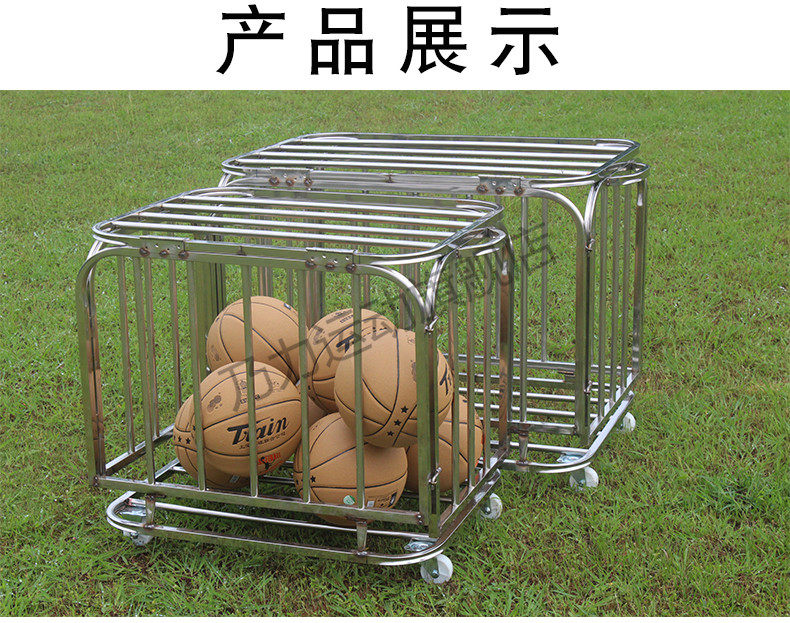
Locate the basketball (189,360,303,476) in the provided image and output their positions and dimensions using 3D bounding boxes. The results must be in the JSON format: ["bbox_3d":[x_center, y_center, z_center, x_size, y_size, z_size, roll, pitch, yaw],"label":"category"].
[{"bbox_3d":[-0.631,0.452,3.489,0.444,0.522,0.318,-1,18,-2],"label":"basketball"}]

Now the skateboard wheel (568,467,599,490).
[{"bbox_3d":[0.940,0.835,3.999,0.109,0.119,0.041,-3,0,16],"label":"skateboard wheel"}]

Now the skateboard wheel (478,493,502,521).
[{"bbox_3d":[0.449,0.917,3.759,0.112,0.117,0.043,-11,-12,34],"label":"skateboard wheel"}]

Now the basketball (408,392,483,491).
[{"bbox_3d":[0.262,0.592,3.645,0.392,0.509,0.412,-1,4,-1],"label":"basketball"}]

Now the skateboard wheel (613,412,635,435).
[{"bbox_3d":[1.292,0.614,4.491,0.075,0.087,0.100,1,-11,-1],"label":"skateboard wheel"}]

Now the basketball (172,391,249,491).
[{"bbox_3d":[-0.871,0.594,3.698,0.366,0.472,0.385,1,-1,-1],"label":"basketball"}]

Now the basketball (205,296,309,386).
[{"bbox_3d":[-0.674,0.173,3.899,0.400,0.500,0.421,-2,-5,2],"label":"basketball"}]

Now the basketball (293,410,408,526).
[{"bbox_3d":[-0.187,0.603,3.405,0.440,0.454,0.435,-2,3,0],"label":"basketball"}]

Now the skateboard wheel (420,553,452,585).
[{"bbox_3d":[0.169,1.079,3.350,0.141,0.154,0.086,-1,7,5],"label":"skateboard wheel"}]

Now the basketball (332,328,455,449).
[{"bbox_3d":[-0.005,0.318,3.301,0.491,0.516,0.293,1,18,4],"label":"basketball"}]
